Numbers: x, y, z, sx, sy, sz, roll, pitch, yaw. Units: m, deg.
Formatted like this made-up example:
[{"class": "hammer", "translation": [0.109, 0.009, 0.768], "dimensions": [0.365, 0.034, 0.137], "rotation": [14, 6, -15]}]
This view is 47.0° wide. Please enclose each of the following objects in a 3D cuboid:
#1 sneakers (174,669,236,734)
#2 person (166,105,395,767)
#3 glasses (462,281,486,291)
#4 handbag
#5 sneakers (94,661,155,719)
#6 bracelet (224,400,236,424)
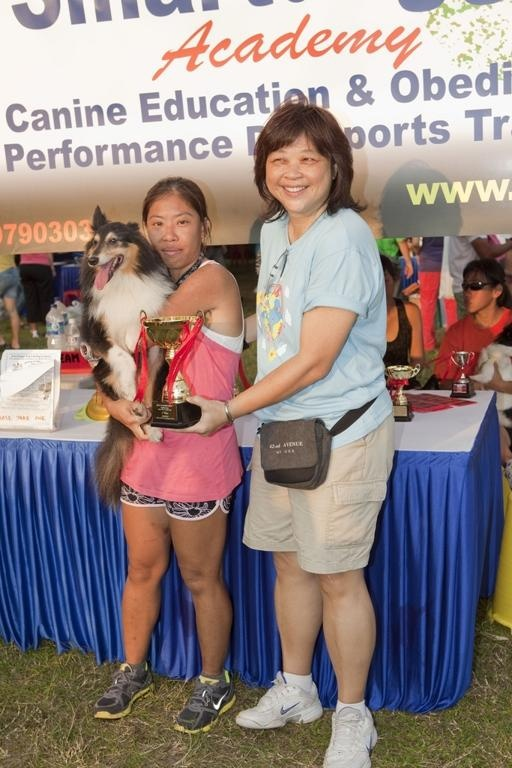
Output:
[{"class": "sneakers", "translation": [-0.144, 0.929, 1.742], "dimensions": [0.086, 0.117, 0.260], "rotation": [-5, -6, 26]}, {"class": "person", "translation": [0.108, 0.199, 1.427], "dimensions": [0.439, 1.601, 0.477], "rotation": [-2, 6, 13]}, {"class": "glasses", "translation": [1.133, -0.508, 3.090], "dimensions": [0.059, 0.046, 0.139], "rotation": [-5, 6, -22]}, {"class": "handbag", "translation": [0.085, 0.154, 1.307], "dimensions": [0.159, 0.159, 0.083], "rotation": [-6, -6, 30]}, {"class": "sneakers", "translation": [-0.401, 0.916, 1.799], "dimensions": [0.087, 0.111, 0.241], "rotation": [-6, -3, 24]}, {"class": "bracelet", "translation": [-0.056, 0.065, 1.290], "dimensions": [0.015, 0.040, 0.030], "rotation": [-3, 23, 7]}]
